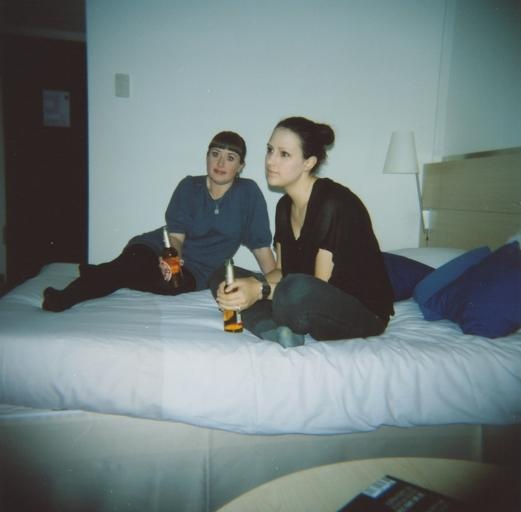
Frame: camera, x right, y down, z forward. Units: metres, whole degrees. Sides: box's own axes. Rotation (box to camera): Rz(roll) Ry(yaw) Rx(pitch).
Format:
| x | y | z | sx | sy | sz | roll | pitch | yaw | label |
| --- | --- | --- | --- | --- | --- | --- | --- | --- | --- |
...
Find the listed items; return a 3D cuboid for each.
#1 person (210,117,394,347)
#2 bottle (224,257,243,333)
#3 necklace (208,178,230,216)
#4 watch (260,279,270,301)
| x | y | z | sx | sy | sz | roll | pitch | yaw | label |
| --- | --- | --- | --- | --- | --- | --- | --- | --- | --- |
| 0.049 | -0.097 | 1.950 | 0.651 | 0.962 | 0.743 | 2 | -3 | -10 | person |
| -0.097 | 0.141 | 1.622 | 0.061 | 0.247 | 0.055 | -3 | -3 | -32 | bottle |
| -0.204 | -0.283 | 2.332 | 0.105 | 0.175 | 0.040 | 1 | -6 | -6 | necklace |
| 0.017 | 0.120 | 1.664 | 0.022 | 0.039 | 0.050 | 2 | 33 | 5 | watch |
